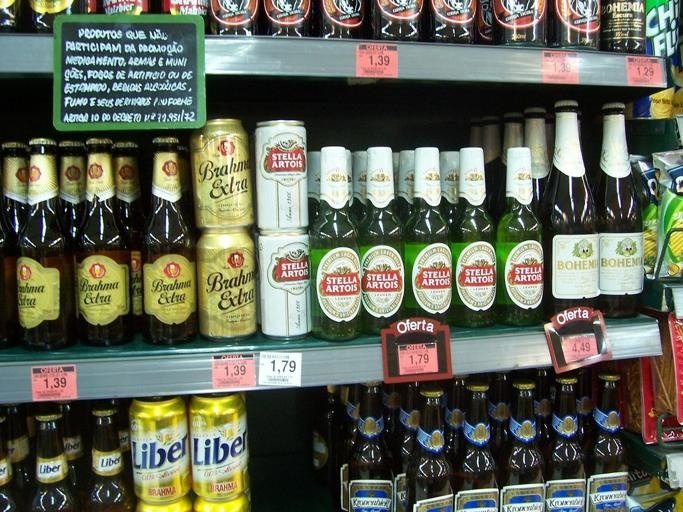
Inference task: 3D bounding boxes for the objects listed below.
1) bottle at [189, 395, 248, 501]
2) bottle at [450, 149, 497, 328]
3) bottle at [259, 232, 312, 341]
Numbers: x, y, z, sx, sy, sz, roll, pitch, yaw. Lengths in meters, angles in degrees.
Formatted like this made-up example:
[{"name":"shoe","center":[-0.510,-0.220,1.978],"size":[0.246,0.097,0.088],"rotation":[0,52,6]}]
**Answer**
[{"name":"bottle","center":[-0.351,0.523,1.879],"size":[0.156,0.285,0.158],"rotation":[1,3,0]},{"name":"bottle","center":[0.372,-0.055,1.919],"size":[0.144,0.508,0.109],"rotation":[-6,6,5]},{"name":"bottle","center":[-0.162,0.045,1.865],"size":[0.126,0.341,0.134],"rotation":[0,20,0]}]
